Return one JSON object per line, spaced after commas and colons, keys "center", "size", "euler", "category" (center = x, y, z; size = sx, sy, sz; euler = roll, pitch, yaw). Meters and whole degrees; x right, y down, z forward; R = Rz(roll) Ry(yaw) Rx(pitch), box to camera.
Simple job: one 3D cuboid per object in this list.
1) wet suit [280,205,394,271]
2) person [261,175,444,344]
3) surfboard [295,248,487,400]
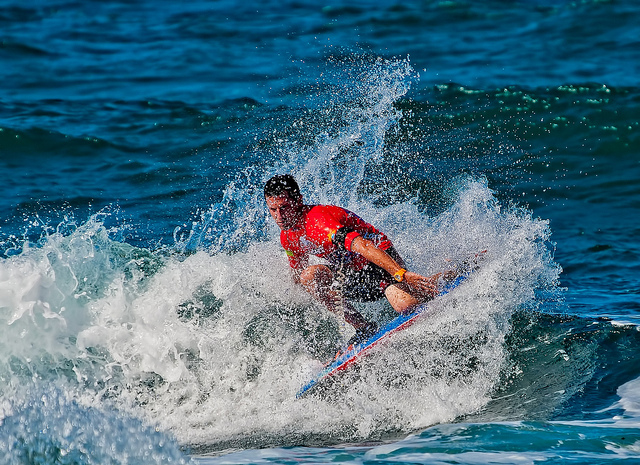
{"center": [0.181, 0.079, 12.838], "size": [1.357, 0.854, 0.569], "euler": [4, 56, 8], "category": "wet suit"}
{"center": [0.409, 0.461, 13.235], "size": [1.497, 1.887, 1.020], "euler": [48, 49, 11], "category": "person"}
{"center": [0.911, 1.241, 12.698], "size": [3.102, 0.428, 0.188], "euler": [-31, 89, -8], "category": "surfboard"}
